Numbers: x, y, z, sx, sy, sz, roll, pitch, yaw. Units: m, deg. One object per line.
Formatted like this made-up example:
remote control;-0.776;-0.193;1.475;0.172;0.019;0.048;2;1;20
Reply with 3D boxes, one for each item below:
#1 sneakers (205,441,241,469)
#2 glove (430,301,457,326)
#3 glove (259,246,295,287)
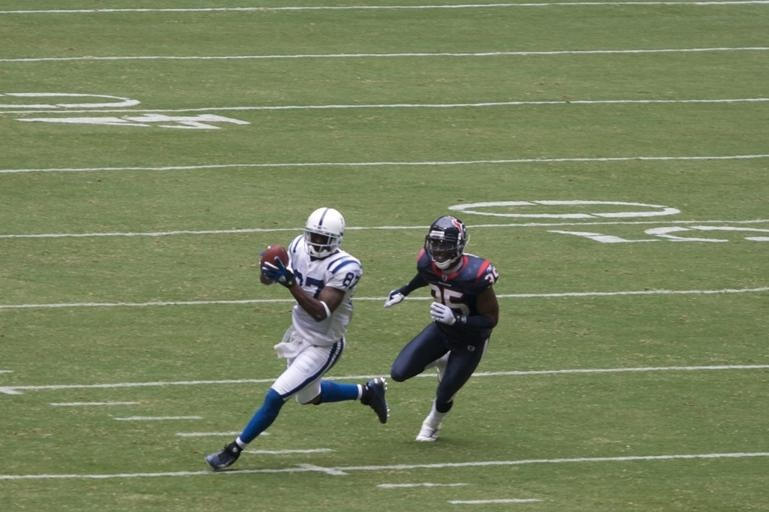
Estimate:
sneakers;-1.848;2.363;22.012;0.315;0.170;0.556;-23;-2;7
glove;0.773;0.710;22.469;0.330;0.275;0.270;1;13;-36
glove;-1.244;0.120;22.069;0.402;0.489;0.308;10;11;-3
